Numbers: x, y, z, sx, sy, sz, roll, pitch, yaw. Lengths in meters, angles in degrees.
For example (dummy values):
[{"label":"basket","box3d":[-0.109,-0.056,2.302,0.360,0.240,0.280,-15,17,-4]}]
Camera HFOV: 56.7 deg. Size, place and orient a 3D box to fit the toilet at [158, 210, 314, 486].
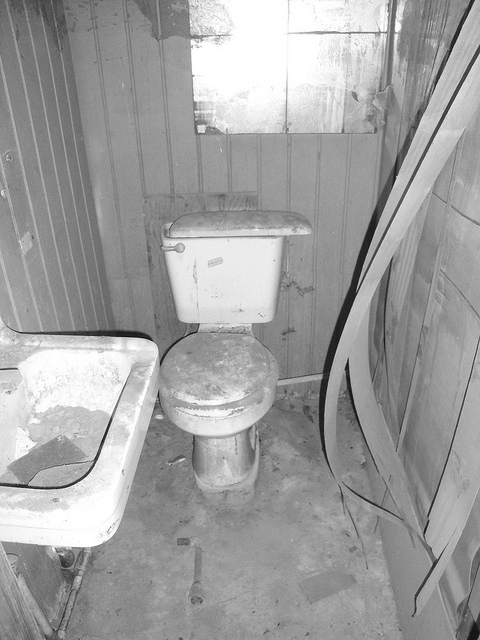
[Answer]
[{"label":"toilet","box3d":[-0.036,0.150,1.605,0.376,0.900,0.629,0,29,4]}]
